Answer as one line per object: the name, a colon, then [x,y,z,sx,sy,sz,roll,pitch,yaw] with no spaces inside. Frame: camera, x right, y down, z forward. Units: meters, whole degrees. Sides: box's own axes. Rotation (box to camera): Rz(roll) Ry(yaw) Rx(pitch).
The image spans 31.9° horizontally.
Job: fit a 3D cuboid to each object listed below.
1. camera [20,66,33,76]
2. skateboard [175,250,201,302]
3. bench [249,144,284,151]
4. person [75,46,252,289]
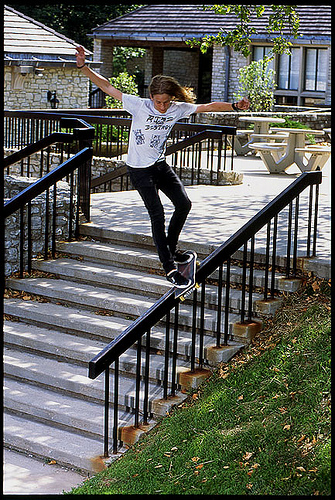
camera: [-4.640,-5.989,19.408,0.270,0.165,0.358,1,-1,-9]
skateboard: [0.168,0.195,4.631,0.153,0.063,0.435,-22,32,25]
bench: [1.982,-2.101,11.898,0.410,0.088,0.397,7,6,43]
person: [-0.073,-0.514,4.474,1.014,1.618,0.420,0,6,-10]
